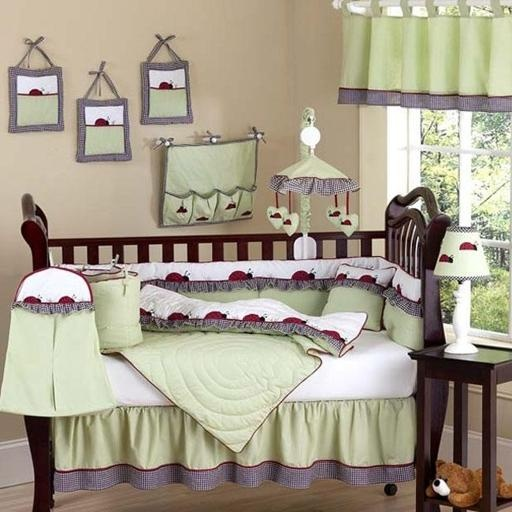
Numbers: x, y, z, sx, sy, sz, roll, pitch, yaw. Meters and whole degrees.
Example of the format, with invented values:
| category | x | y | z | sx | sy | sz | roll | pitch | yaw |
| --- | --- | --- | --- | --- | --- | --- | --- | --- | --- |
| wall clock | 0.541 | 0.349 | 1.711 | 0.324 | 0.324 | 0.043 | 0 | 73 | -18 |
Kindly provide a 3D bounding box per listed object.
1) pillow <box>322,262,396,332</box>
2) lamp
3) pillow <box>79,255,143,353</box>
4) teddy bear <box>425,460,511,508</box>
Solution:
| category | x | y | z | sx | sy | sz | roll | pitch | yaw |
| --- | --- | --- | --- | --- | --- | --- | --- | --- | --- |
| pillow | 0.438 | 0.149 | 2.659 | 0.296 | 0.263 | 0.089 | 3 | -24 | 42 |
| lamp | 0.682 | 0.108 | 2.113 | 0.164 | 0.415 | 0.150 | -3 | 4 | -6 |
| pillow | -0.505 | 0.174 | 2.294 | 0.191 | 0.303 | 0.215 | -4 | 4 | -19 |
| teddy bear | 0.684 | 0.725 | 2.042 | 0.254 | 0.114 | 0.207 | 0 | 4 | 33 |
